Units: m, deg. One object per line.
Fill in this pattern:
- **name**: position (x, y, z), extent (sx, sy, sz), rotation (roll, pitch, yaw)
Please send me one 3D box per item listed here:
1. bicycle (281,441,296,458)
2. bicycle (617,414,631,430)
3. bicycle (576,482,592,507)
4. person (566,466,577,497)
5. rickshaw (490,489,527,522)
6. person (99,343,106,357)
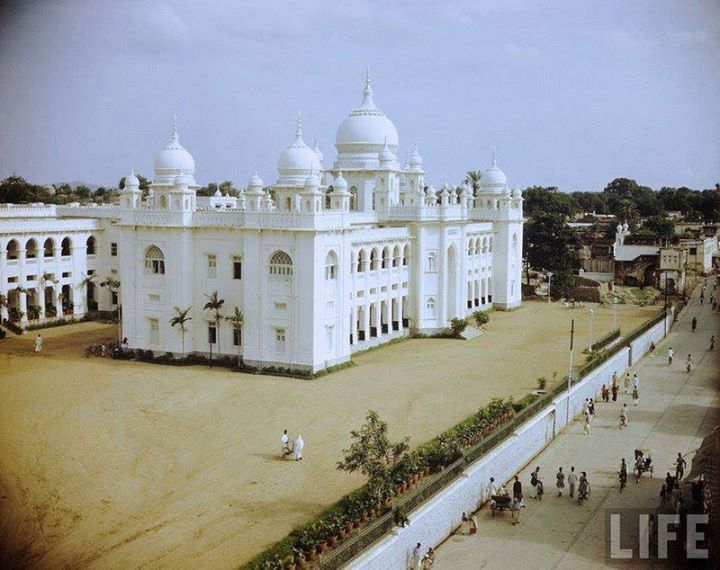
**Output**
- **bicycle**: position (-2.823, 6.475, 37.873), extent (0.331, 0.461, 0.678), rotation (5, 8, 25)
- **bicycle**: position (11.733, 5.985, 42.556), extent (0.357, 0.574, 0.882), rotation (5, 8, 30)
- **bicycle**: position (8.111, 7.529, 34.766), extent (0.371, 0.501, 0.794), rotation (-2, -2, 26)
- **person**: position (7.846, 7.211, 35.358), extent (0.363, 0.901, 1.256), rotation (3, 11, 13)
- **rickshaw**: position (5.188, 7.702, 33.716), extent (0.642, 0.554, 1.139), rotation (2, 8, 20)
- **person**: position (-14.435, 3.629, 53.791), extent (0.438, 1.042, 0.322), rotation (2, -14, -15)
